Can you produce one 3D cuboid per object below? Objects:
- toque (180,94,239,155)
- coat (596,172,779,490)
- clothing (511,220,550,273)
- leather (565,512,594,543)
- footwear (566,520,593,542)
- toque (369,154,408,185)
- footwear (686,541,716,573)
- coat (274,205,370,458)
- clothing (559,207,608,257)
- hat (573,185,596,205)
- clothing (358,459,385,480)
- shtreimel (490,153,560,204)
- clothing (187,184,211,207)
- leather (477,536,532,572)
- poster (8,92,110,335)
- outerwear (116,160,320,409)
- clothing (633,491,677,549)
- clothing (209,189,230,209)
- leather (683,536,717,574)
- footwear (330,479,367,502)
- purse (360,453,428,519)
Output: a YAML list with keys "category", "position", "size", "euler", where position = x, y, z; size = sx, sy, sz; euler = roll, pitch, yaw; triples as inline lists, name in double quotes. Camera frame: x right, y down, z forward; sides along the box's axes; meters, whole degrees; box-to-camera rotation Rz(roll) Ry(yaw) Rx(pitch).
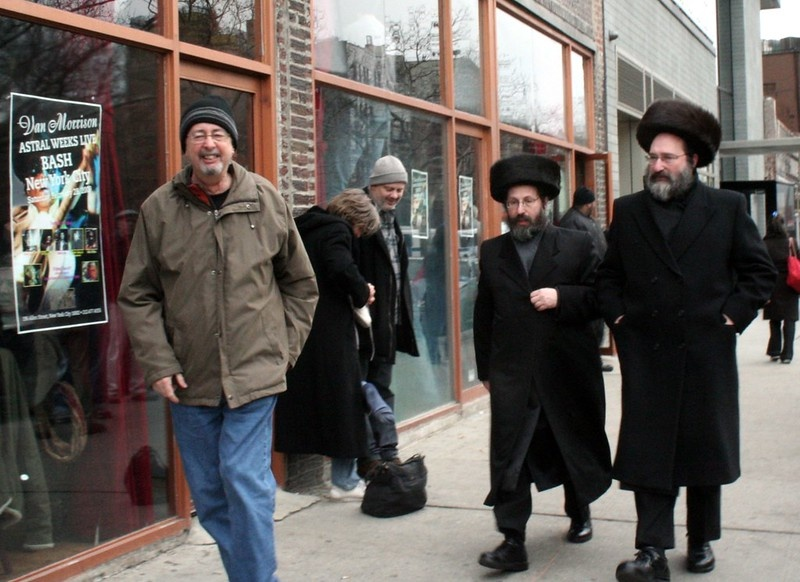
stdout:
- category: "toque"
  position: [-0.955, -0.856, 3.691]
  size: [0.253, 0.251, 0.273]
  euler: [2, -26, -10]
- category: "coat"
  position: [1.561, 0.243, 4.046]
  size: [0.893, 1.656, 0.448]
  euler: [-1, 3, 14]
- category: "clothing"
  position: [0.796, -0.273, 4.429]
  size: [0.224, 0.296, 0.166]
  euler: [-3, 15, 1]
- category: "leather"
  position: [1.124, 1.489, 4.576]
  size: [0.091, 0.150, 0.249]
  euler: [-4, -10, 30]
- category: "footwear"
  position: [1.125, 1.495, 4.574]
  size: [0.093, 0.114, 0.183]
  euler: [-4, -10, 34]
- category: "toque"
  position: [-0.108, -0.927, 5.737]
  size: [0.254, 0.202, 0.253]
  euler: [1, 1, -18]
- category: "footwear"
  position: [1.678, 1.496, 4.098]
  size: [0.091, 0.093, 0.222]
  euler: [2, 12, 19]
- category: "coat"
  position: [-0.525, 0.268, 5.381]
  size: [0.763, 1.787, 0.597]
  euler: [-5, -5, 38]
- category: "clothing"
  position: [2.442, -0.735, 9.697]
  size: [0.539, 0.736, 1.008]
  euler: [2, 13, 39]
- category: "hat"
  position: [2.429, -1.275, 9.681]
  size: [0.237, 0.210, 0.232]
  euler: [-4, 10, -36]
- category: "clothing"
  position: [-0.213, 1.288, 5.328]
  size: [0.161, 0.143, 0.141]
  euler: [0, -4, 15]
- category: "shtreimel"
  position: [0.708, -0.690, 4.571]
  size: [0.561, 0.234, 0.547]
  euler: [-10, 9, -20]
- category: "clothing"
  position: [-0.967, -0.468, 3.527]
  size: [0.075, 0.127, 0.027]
  euler: [-45, 16, -26]
- category: "leather"
  position: [0.584, 1.489, 4.191]
  size: [0.326, 0.219, 0.138]
  euler: [11, -9, -13]
- category: "poster"
  position: [-1.884, -0.428, 4.064]
  size: [0.081, 1.271, 0.562]
  euler: [0, 3, 29]
- category: "outerwear"
  position: [-0.888, -0.046, 3.578]
  size: [0.938, 1.179, 0.355]
  euler: [-2, 3, -7]
- category: "clothing"
  position: [1.374, 1.222, 3.937]
  size: [0.205, 0.305, 0.142]
  euler: [0, 3, 19]
- category: "clothing"
  position: [-0.881, -0.449, 3.577]
  size: [0.076, 0.054, 0.104]
  euler: [-3, 40, 13]
- category: "leather"
  position: [1.706, 1.487, 4.153]
  size: [0.094, 0.101, 0.238]
  euler: [2, 11, 18]
- category: "footwear"
  position: [-0.387, 1.473, 5.458]
  size: [0.333, 0.147, 0.121]
  euler: [-3, 4, -22]
- category: "purse"
  position: [-0.027, 1.369, 5.198]
  size: [0.468, 0.386, 0.291]
  euler: [-8, 11, -20]
